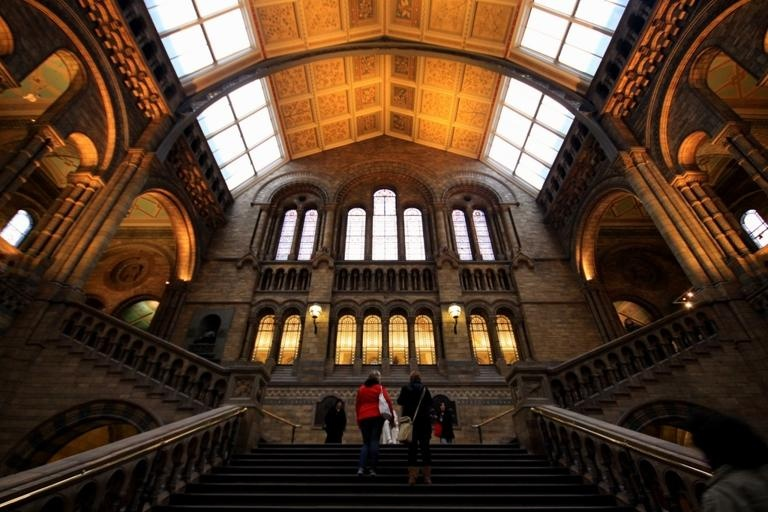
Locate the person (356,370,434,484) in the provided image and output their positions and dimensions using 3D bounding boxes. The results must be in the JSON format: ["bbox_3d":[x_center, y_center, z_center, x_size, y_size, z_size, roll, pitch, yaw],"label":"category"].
[{"bbox_3d":[0.169,3.012,5.853,1.340,1.738,0.750,-5,-38,8],"label":"person"}]

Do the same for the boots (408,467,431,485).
[{"bbox_3d":[0.569,3.688,5.548,0.370,0.262,0.541,0,-30,1],"label":"boots"}]

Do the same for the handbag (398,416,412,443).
[{"bbox_3d":[0.334,2.946,5.567,0.257,0.404,0.087,-20,-43,26],"label":"handbag"}]

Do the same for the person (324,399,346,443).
[{"bbox_3d":[-1.308,4.486,8.906,0.536,1.042,0.792,6,-35,-6],"label":"person"}]

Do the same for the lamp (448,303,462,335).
[{"bbox_3d":[3.296,2.818,15.421,0.633,1.547,0.922,-8,-37,11],"label":"lamp"}]

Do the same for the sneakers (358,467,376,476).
[{"bbox_3d":[-0.282,3.748,5.692,0.279,0.131,0.433,-3,-29,6],"label":"sneakers"}]
